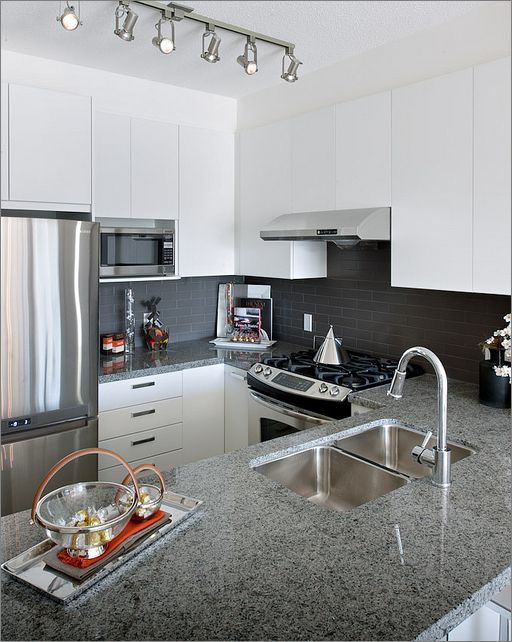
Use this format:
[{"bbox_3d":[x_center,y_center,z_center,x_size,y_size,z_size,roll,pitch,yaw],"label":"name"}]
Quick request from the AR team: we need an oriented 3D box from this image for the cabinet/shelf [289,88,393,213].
[{"bbox_3d":[0.479,-0.912,2.749,0.692,0.564,0.222,6,16,29],"label":"cabinet/shelf"}]

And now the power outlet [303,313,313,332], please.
[{"bbox_3d":[0.357,0.009,3.425,0.018,0.167,0.126,-1,3,-30],"label":"power outlet"}]

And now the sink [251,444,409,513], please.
[{"bbox_3d":[0.204,0.498,1.622,0.305,0.124,0.298,-3,8,-39],"label":"sink"}]

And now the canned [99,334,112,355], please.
[{"bbox_3d":[-0.949,0.155,3.149,0.076,0.122,0.073,-2,7,-17],"label":"canned"}]

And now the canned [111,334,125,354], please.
[{"bbox_3d":[-0.886,0.148,3.184,0.072,0.114,0.122,-1,7,-11],"label":"canned"}]

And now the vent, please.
[{"bbox_3d":[0.347,-0.515,2.654,0.240,0.183,0.771,-4,8,-34],"label":"vent"}]

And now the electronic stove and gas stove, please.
[{"bbox_3d":[-0.726,-0.435,3.251,0.522,0.310,0.287,1,3,12],"label":"electronic stove and gas stove"}]

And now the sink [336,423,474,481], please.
[{"bbox_3d":[0.520,0.453,1.803,0.261,0.181,0.342,-4,9,-35],"label":"sink"}]
